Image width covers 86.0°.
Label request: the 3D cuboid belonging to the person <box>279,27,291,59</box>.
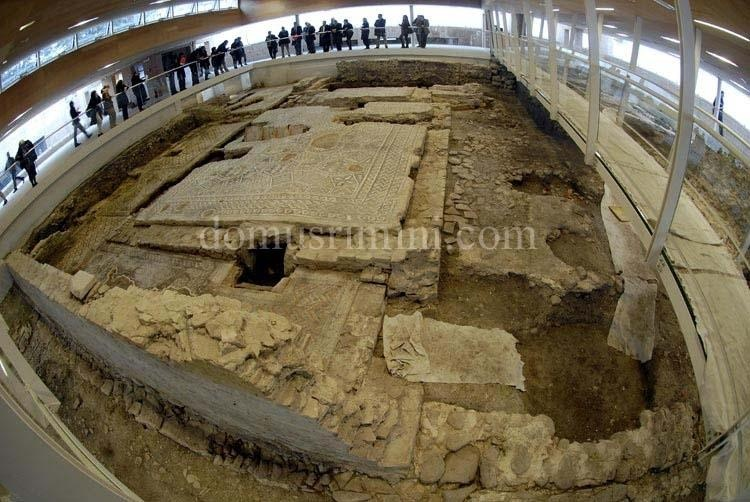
[{"bbox_3d":[-2.752,-6.407,12.228,0.374,0.846,0.556,-13,47,-7],"label":"person"}]

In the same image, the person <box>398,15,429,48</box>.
[{"bbox_3d":[1.202,-6.613,12.084,0.856,0.830,0.619,2,46,6],"label":"person"}]

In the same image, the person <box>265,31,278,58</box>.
[{"bbox_3d":[-3.136,-6.319,12.302,0.367,0.723,0.465,-15,47,-9],"label":"person"}]

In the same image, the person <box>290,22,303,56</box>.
[{"bbox_3d":[-2.388,-6.500,12.399,0.357,0.630,0.752,-9,46,-4],"label":"person"}]

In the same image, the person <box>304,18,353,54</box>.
[{"bbox_3d":[-1.402,-6.601,12.361,1.531,0.866,0.693,0,46,4],"label":"person"}]

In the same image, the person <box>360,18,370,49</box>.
[{"bbox_3d":[-0.285,-6.609,12.103,0.295,0.921,0.658,-5,46,0],"label":"person"}]

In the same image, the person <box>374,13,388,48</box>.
[{"bbox_3d":[0.172,-6.649,12.085,0.390,0.873,0.497,-3,46,2],"label":"person"}]
